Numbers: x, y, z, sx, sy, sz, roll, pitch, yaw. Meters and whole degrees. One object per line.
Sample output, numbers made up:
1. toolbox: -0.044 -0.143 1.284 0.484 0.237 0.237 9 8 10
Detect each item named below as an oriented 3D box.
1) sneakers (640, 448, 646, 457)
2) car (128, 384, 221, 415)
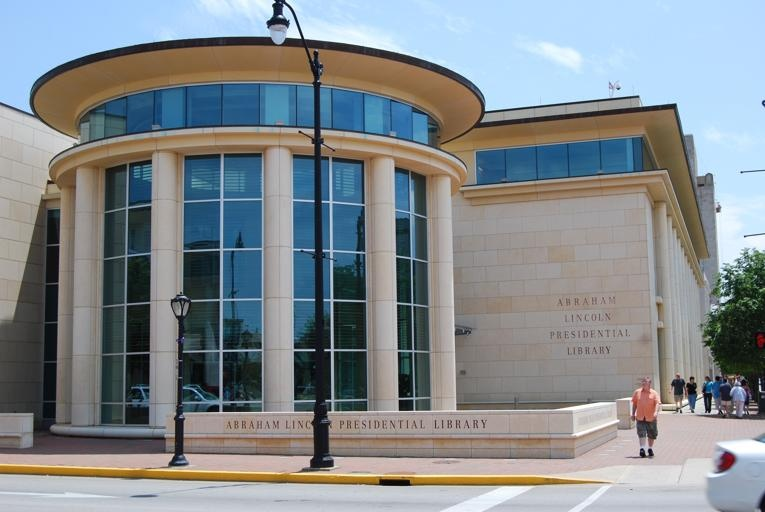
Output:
1. sneakers: 9.439 7.153 36.085 0.153 0.157 0.391 -5 -24 16
2. car: -8.948 6.254 43.488 3.479 1.335 1.499 -2 -7 10
